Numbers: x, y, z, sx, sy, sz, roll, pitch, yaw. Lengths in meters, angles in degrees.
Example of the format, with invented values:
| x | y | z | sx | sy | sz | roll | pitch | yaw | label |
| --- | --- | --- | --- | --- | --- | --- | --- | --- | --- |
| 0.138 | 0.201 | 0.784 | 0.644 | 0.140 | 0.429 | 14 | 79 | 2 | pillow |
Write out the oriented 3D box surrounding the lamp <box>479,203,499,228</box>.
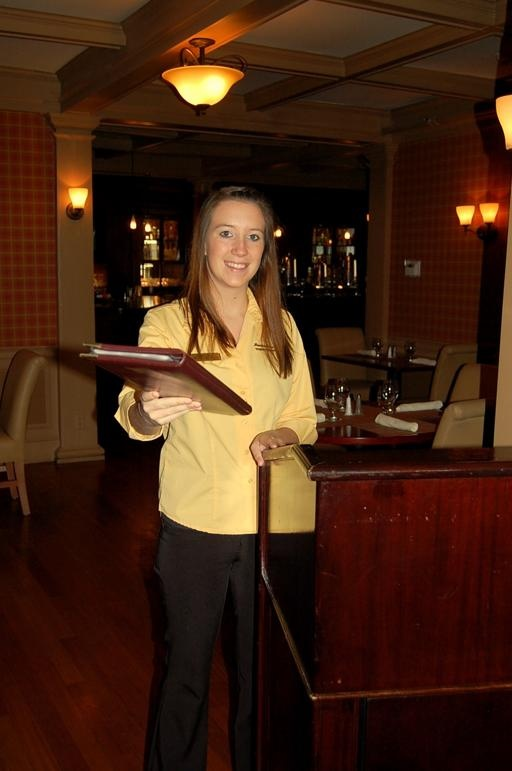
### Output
| x | y | z | sx | sy | sz | roll | pitch | yaw | label |
| --- | --- | --- | --- | --- | --- | --- | --- | --- | --- |
| 2.131 | -1.572 | 5.498 | 0.174 | 0.221 | 0.192 | -1 | 13 | 5 | lamp |

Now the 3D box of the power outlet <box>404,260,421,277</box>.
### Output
| x | y | z | sx | sy | sz | roll | pitch | yaw | label |
| --- | --- | --- | --- | --- | --- | --- | --- | --- | --- |
| 1.706 | -1.270 | 6.461 | 0.158 | 0.234 | 0.231 | -3 | 7 | -13 | power outlet |

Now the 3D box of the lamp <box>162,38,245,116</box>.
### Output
| x | y | z | sx | sy | sz | roll | pitch | yaw | label |
| --- | --- | --- | --- | --- | --- | --- | --- | --- | --- |
| -0.288 | -1.924 | 3.521 | 0.453 | 0.418 | 0.471 | 1 | -1 | 4 | lamp |

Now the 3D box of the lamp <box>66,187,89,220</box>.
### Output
| x | y | z | sx | sy | sz | roll | pitch | yaw | label |
| --- | --- | --- | --- | --- | --- | --- | --- | --- | --- |
| -1.618 | -1.637 | 5.373 | 0.203 | 0.287 | 0.117 | -2 | 6 | -21 | lamp |

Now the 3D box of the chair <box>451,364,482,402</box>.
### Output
| x | y | z | sx | sy | sz | roll | pitch | yaw | label |
| --- | --- | --- | --- | --- | --- | --- | --- | --- | --- |
| 1.462 | -0.019 | 4.143 | 0.185 | 0.251 | 0.130 | 2 | 6 | 16 | chair |
